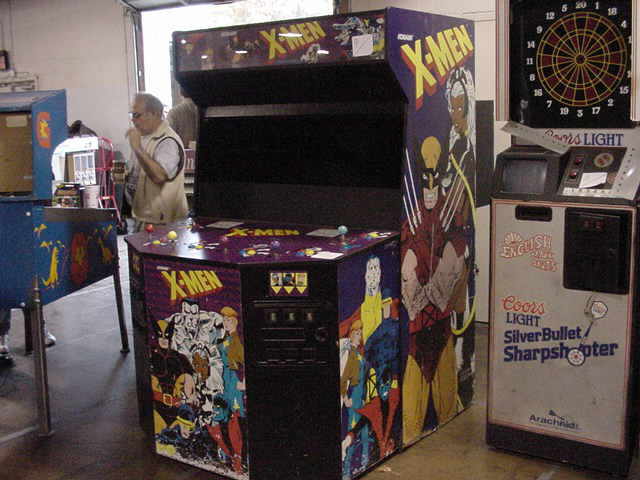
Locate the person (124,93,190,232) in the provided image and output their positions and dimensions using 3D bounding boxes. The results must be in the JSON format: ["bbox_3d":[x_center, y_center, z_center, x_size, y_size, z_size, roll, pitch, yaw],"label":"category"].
[{"bbox_3d":[-1.113,-0.529,3.707,0.400,0.942,0.678,-8,13,-19],"label":"person"}]
